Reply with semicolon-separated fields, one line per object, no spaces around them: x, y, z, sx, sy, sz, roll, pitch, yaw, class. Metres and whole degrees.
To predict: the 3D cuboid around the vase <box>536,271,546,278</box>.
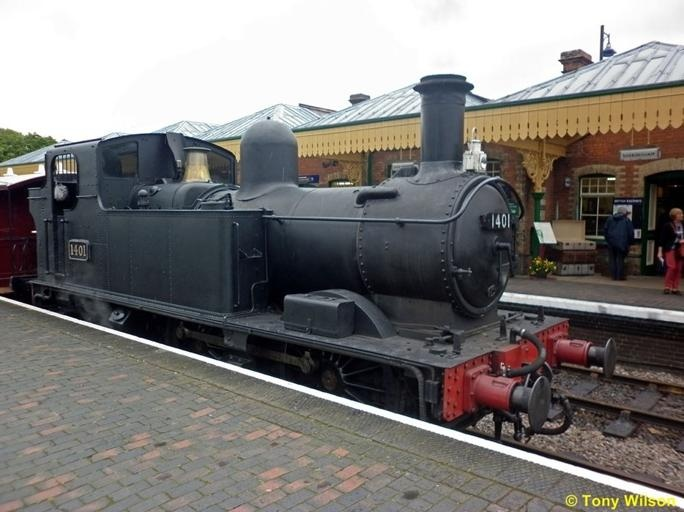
5.084;0.488;13.234;0.146;0.111;0.168;0;-1;-14;vase

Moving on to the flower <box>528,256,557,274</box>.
5.136;0.256;13.406;0.516;0.419;0.575;2;4;38;flower

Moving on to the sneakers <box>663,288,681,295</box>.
6.743;0.740;10.554;0.388;0.153;0.144;-3;8;-14;sneakers

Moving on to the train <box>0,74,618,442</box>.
-1.276;0.077;8.310;9.760;4.240;3.789;5;8;44;train
